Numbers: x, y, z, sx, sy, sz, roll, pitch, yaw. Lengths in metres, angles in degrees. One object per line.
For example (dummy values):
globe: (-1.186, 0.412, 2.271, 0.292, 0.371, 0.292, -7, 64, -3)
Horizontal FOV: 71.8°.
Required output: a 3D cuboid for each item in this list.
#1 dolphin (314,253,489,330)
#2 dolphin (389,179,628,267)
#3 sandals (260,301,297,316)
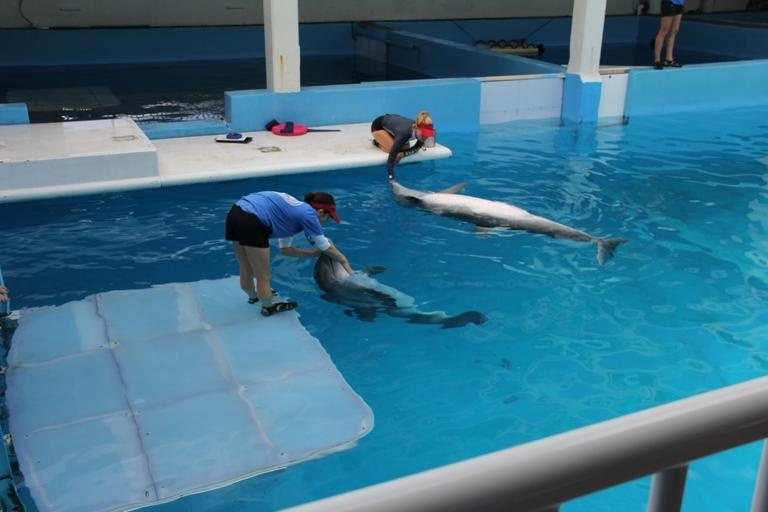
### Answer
dolphin: (0.085, 0.374, 6.573, 2.581, 0.722, 1.336, 3, 28, -2)
dolphin: (1.637, -0.590, 7.482, 3.584, 0.370, 1.018, 12, 28, 13)
sandals: (-1.129, 0.550, 5.703, 0.422, 0.117, 0.134, -11, 30, -15)
